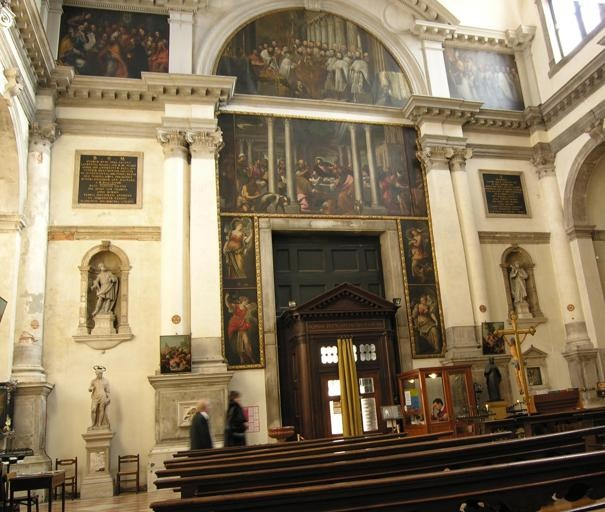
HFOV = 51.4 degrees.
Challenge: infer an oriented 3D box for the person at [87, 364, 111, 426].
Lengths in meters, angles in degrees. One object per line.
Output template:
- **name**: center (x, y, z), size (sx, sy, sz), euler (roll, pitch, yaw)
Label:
- **person**: center (-4.048, 2.849, 12.507), size (0.375, 1.204, 0.326), euler (1, -17, -18)

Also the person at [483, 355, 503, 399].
- **person**: center (4.252, 2.774, 14.058), size (0.340, 1.002, 0.384), euler (-8, -17, 13)

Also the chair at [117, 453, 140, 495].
- **chair**: center (-3.426, 4.308, 12.333), size (0.511, 0.709, 0.517), euler (-11, -20, 18)

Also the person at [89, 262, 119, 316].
- **person**: center (-4.242, 0.759, 13.546), size (0.526, 1.201, 0.189), euler (1, -17, -17)
